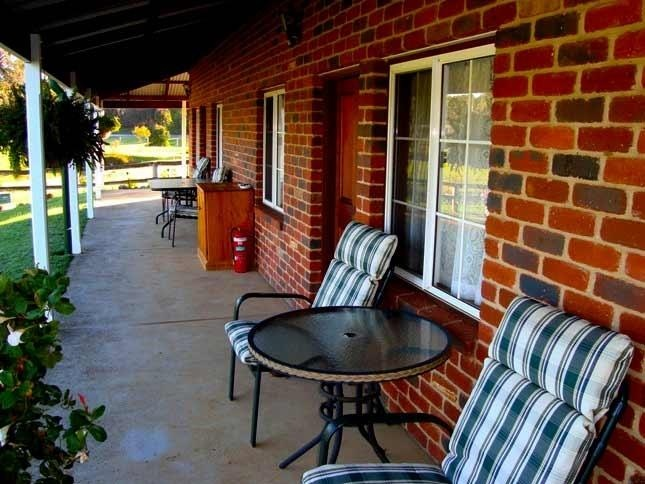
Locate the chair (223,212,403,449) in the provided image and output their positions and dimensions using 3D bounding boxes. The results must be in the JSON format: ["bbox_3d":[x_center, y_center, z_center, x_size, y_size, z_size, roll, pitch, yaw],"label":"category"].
[{"bbox_3d":[-0.112,0.579,3.510,1.083,1.339,0.839,-3,9,-27],"label":"chair"}]

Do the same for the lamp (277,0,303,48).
[{"bbox_3d":[-0.279,-2.170,4.826,0.105,0.472,0.325,-18,23,-41],"label":"lamp"}]

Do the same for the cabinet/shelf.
[{"bbox_3d":[-1.475,-0.315,7.530,0.908,1.671,1.678,-2,8,-13],"label":"cabinet/shelf"}]

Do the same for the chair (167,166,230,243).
[{"bbox_3d":[-2.346,-0.601,8.623,0.882,1.084,0.739,5,6,-14],"label":"chair"}]

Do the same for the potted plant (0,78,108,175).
[{"bbox_3d":[-3.027,-1.265,5.454,1.068,0.909,1.077,-14,-15,43],"label":"potted plant"}]
